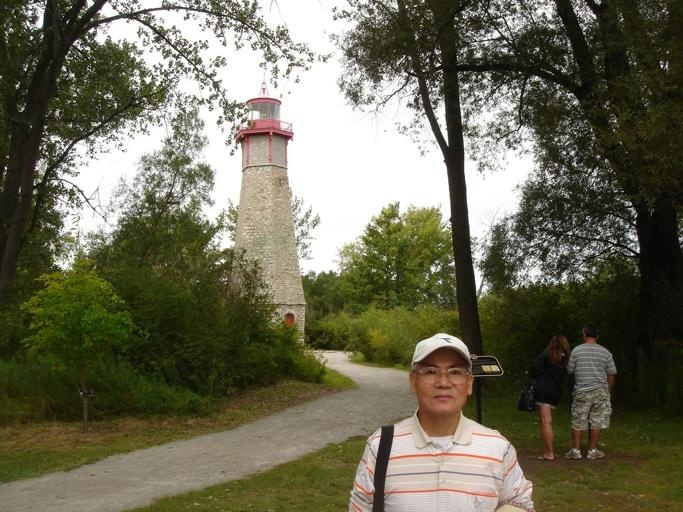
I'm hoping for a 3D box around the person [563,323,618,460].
[{"bbox_3d":[4.573,2.526,10.383,0.862,2.489,0.346,-2,-4,20],"label":"person"}]

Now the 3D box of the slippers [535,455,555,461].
[{"bbox_3d":[3.776,3.795,10.475,0.246,0.068,0.120,3,-3,25],"label":"slippers"}]

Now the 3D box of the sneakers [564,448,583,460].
[{"bbox_3d":[4.290,3.692,10.440,0.155,0.189,0.395,2,-7,-11],"label":"sneakers"}]

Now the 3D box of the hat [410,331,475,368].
[{"bbox_3d":[0.829,0.785,4.770,0.471,0.244,0.673,-8,-17,12],"label":"hat"}]

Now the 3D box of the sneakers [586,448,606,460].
[{"bbox_3d":[4.733,3.681,10.489,0.399,0.196,0.173,1,-1,-32],"label":"sneakers"}]
